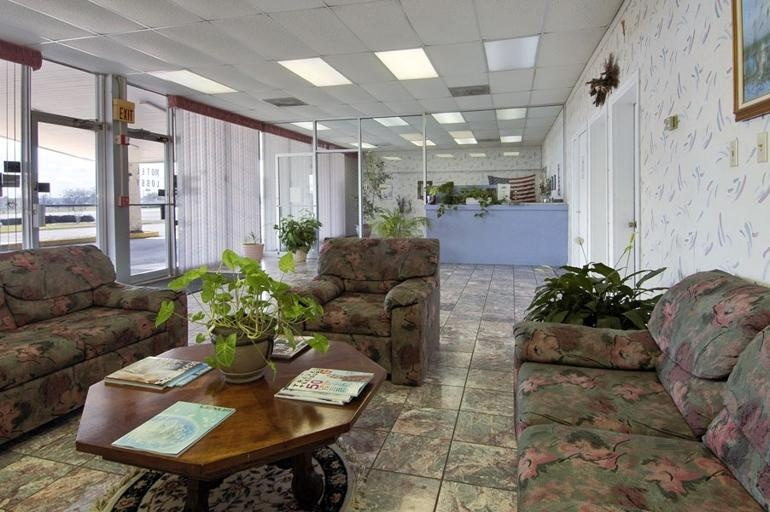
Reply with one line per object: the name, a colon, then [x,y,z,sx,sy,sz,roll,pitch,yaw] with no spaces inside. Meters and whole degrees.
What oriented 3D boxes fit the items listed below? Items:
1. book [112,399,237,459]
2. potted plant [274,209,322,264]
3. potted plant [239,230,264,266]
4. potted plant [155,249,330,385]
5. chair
book: [-0.927,0.756,1.929,0.325,0.008,0.368,3,11,14]
potted plant: [-2.039,-0.362,9.966,0.872,0.974,0.971,-3,12,-45]
potted plant: [-2.740,-0.181,9.115,0.406,0.549,0.359,2,7,-8]
potted plant: [-0.692,0.374,2.328,0.705,0.463,0.659,-4,-6,11]
chair: [-0.145,0.397,3.863,1.377,1.037,1.342,4,8,37]
